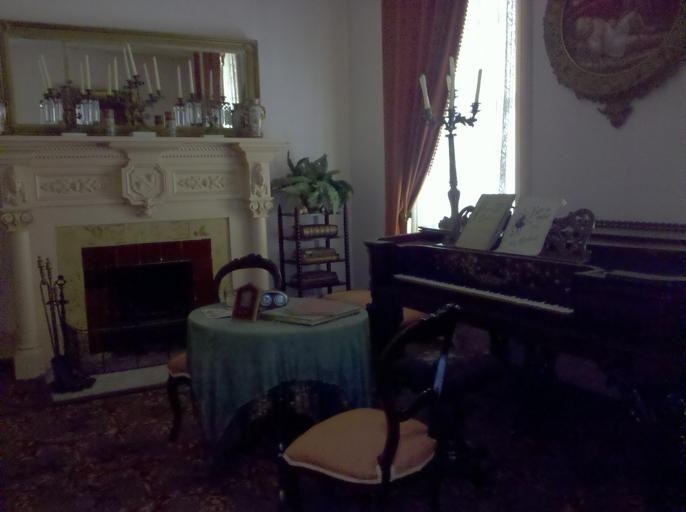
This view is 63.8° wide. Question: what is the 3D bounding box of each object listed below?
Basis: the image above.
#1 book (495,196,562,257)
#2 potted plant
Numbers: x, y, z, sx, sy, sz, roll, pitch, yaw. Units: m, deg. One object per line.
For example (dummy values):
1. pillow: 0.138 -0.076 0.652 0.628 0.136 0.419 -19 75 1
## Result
1. book: 1.082 -0.174 3.183 0.093 0.353 0.339 23 -9 -33
2. potted plant: -0.302 -0.713 5.481 0.631 0.446 0.637 -7 23 -42
